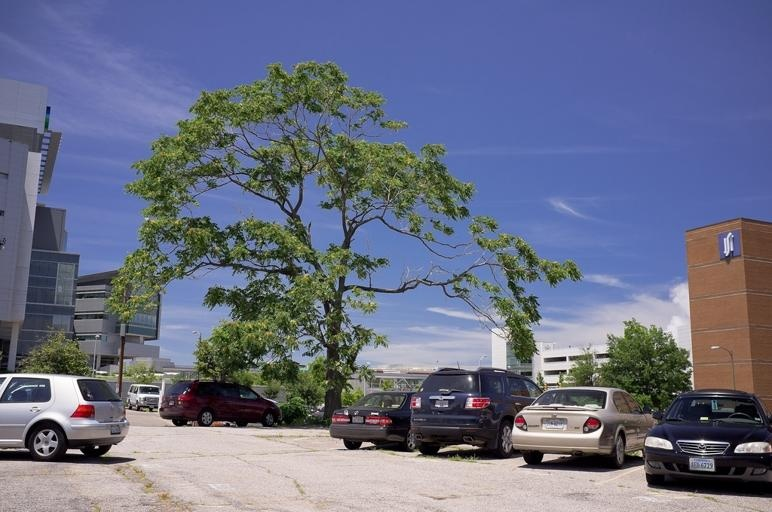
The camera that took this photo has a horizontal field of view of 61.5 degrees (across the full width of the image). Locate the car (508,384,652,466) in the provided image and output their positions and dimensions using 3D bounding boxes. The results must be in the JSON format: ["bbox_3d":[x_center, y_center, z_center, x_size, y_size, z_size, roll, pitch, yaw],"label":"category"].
[{"bbox_3d":[5.225,4.448,16.925,3.491,2.067,1.871,11,-14,-31],"label":"car"}]

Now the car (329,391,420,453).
[{"bbox_3d":[-0.332,4.989,19.680,1.360,0.861,3.147,-2,-6,31],"label":"car"}]

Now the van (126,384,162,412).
[{"bbox_3d":[-19.651,11.615,53.206,2.305,1.877,4.263,8,-16,-30],"label":"van"}]

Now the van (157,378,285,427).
[{"bbox_3d":[-7.617,6.965,30.711,5.034,1.573,2.412,3,-9,-29],"label":"van"}]
